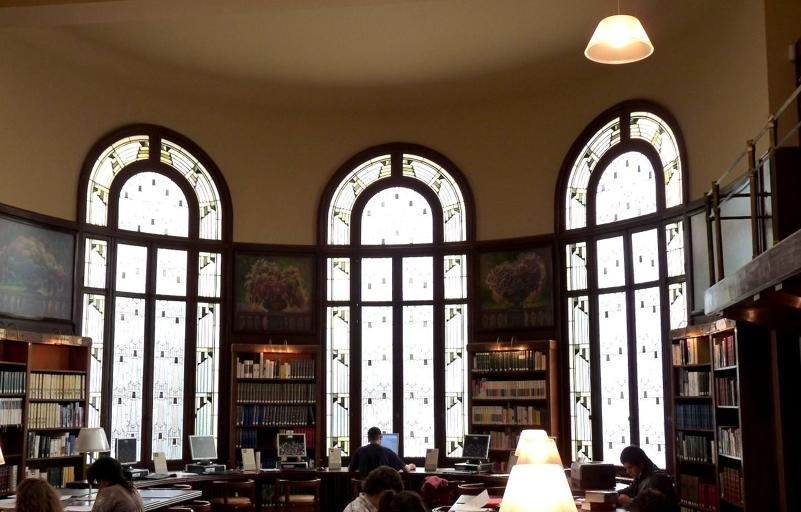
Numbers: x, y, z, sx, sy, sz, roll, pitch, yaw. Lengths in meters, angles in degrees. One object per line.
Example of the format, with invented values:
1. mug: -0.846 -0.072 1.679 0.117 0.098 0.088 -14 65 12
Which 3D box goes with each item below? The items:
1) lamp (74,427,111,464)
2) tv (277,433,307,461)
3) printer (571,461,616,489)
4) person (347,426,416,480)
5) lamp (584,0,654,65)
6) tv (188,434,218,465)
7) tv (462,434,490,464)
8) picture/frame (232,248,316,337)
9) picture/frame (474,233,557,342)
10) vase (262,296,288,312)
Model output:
1. lamp: -4.507 2.804 10.525 0.468 0.669 0.528 4 6 -11
2. tv: -1.854 3.267 12.242 0.365 0.429 0.153 1 -20 -7
3. printer: 2.715 3.105 10.103 0.368 0.303 0.580 1 -13 3
4. person: -0.398 3.134 11.497 1.036 0.841 0.687 -2 -3 14
5. lamp: 2.801 -2.784 9.321 0.710 0.921 0.826 2 -13 2
6. tv: -3.299 3.247 11.989 0.411 0.458 0.153 12 -33 -34
7. tv: 1.270 3.218 11.955 0.413 0.476 0.179 -3 -33 17
8. picture/frame: -2.277 0.689 13.056 1.472 1.705 0.048 2 -29 -15
9. picture/frame: 2.025 0.537 12.577 1.447 0.056 1.935 -3 -60 9
10. vase: -2.267 0.884 13.017 0.276 0.222 0.305 0 -8 -1
